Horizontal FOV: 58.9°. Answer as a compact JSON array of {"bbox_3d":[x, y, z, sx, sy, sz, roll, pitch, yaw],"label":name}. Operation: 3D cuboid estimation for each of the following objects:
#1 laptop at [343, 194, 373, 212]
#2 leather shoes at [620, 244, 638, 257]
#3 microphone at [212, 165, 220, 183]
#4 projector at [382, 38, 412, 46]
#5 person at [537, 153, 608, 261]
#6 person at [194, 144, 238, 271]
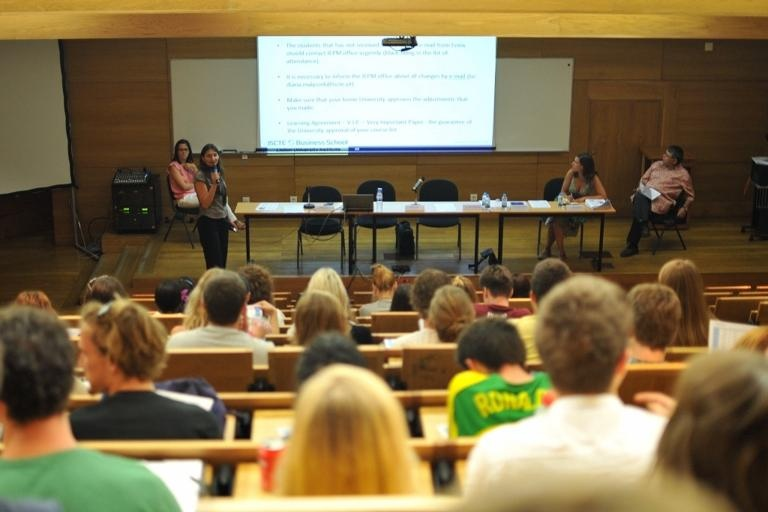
[{"bbox_3d":[-0.299,-0.637,7.867,0.279,0.208,0.193,0,12,-3],"label":"laptop"},{"bbox_3d":[3.051,-0.051,8.454,0.301,0.122,0.101,-3,2,-42],"label":"leather shoes"},{"bbox_3d":[-1.703,-0.834,6.888,0.046,0.180,0.046,-28,-40,29],"label":"microphone"},{"bbox_3d":[0.166,-2.596,8.224,0.280,0.089,0.417,8,15,40],"label":"projector"},{"bbox_3d":[2.349,-0.621,8.464,0.770,1.278,1.062,1,11,15],"label":"person"},{"bbox_3d":[-1.745,-0.501,7.130,0.444,1.329,0.534,-3,11,-9],"label":"person"}]
